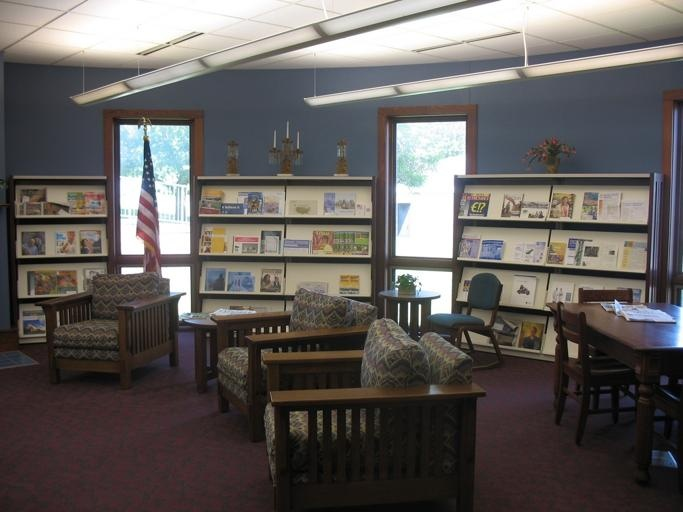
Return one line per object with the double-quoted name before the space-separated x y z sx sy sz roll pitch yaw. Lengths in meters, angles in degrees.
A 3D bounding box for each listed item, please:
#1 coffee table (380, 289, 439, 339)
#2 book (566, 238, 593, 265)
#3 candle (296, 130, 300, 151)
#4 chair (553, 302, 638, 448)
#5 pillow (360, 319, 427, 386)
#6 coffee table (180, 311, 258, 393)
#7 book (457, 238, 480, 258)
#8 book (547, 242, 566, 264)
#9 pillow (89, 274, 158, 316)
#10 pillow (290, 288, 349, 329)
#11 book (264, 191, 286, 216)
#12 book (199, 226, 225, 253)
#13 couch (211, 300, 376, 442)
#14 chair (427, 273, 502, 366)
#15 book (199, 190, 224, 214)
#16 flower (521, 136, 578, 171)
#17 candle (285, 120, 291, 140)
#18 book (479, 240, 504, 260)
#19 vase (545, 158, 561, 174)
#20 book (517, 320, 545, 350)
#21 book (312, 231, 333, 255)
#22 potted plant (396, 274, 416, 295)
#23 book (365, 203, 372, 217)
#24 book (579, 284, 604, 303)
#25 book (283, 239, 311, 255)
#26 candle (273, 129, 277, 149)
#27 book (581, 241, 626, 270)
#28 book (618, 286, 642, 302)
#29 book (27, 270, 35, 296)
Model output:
"coffee table" 0.779 0.620 6.381 0.602 0.645 0.592 0 1 -2
"book" 2.674 -0.046 6.049 0.270 0.361 0.040 7 -15 34
"candle" -0.578 -1.576 7.288 0.064 0.224 0.181 -1 9 -5
"chair" 2.086 0.919 4.338 0.733 0.946 0.770 0 1 38
"pillow" 0.322 0.750 3.580 0.316 0.488 0.829 7 3 -5
"coffee table" -1.258 0.868 5.442 0.798 0.590 0.790 0 -1 -23
"book" 1.572 -0.088 6.583 0.248 0.232 0.059 7 -9 32
"book" 2.465 -0.029 6.160 0.227 0.315 0.033 6 -16 23
"pillow" -2.356 0.450 5.883 0.750 0.523 0.266 -2 2 12
"pillow" -0.168 0.476 4.537 0.197 0.423 0.579 13 4 39
"book" -0.862 -0.674 6.998 0.295 0.310 0.025 2 -10 1
"book" -1.670 -0.212 7.050 0.330 0.308 0.077 3 -6 2
"couch" -0.465 0.895 4.685 1.142 1.049 1.506 2 -3 -29
"chair" 1.409 0.705 6.219 0.732 1.000 0.724 1 2 -13
"book" -1.650 -0.664 7.131 0.372 0.365 0.276 1 -7 0
"flower" 2.487 -1.161 6.391 0.472 0.326 0.475 -2 1 6
"candle" -0.733 -1.726 7.290 0.056 0.232 0.112 0 9 2
"book" 1.809 -0.072 6.467 0.213 0.235 0.080 -4 -12 25
"vase" 2.449 -1.048 6.250 0.174 0.140 0.162 0 1 4
"book" 2.208 0.924 6.256 0.332 0.441 0.047 4 -17 30
"book" -0.243 -0.163 6.972 0.285 0.330 0.045 1 -12 -1
"potted plant" 0.743 0.313 6.223 0.214 0.219 0.224 -1 5 -7
"book" 0.347 -0.576 6.886 0.109 0.156 0.097 0 9 1
"book" 2.340 0.366 5.076 0.255 0.199 0.147 1 1 1
"book" -0.568 -0.107 6.942 0.353 0.191 0.117 -1 9 -5
"candle" -0.896 -1.607 7.299 0.048 0.222 0.149 -1 9 -6
"book" 2.888 -0.001 5.912 0.305 0.285 0.035 3 -14 40
"book" 2.863 0.381 5.347 0.150 0.218 0.178 3 7 23
"book" -3.970 0.339 6.916 0.093 0.298 0.085 -3 9 -21
